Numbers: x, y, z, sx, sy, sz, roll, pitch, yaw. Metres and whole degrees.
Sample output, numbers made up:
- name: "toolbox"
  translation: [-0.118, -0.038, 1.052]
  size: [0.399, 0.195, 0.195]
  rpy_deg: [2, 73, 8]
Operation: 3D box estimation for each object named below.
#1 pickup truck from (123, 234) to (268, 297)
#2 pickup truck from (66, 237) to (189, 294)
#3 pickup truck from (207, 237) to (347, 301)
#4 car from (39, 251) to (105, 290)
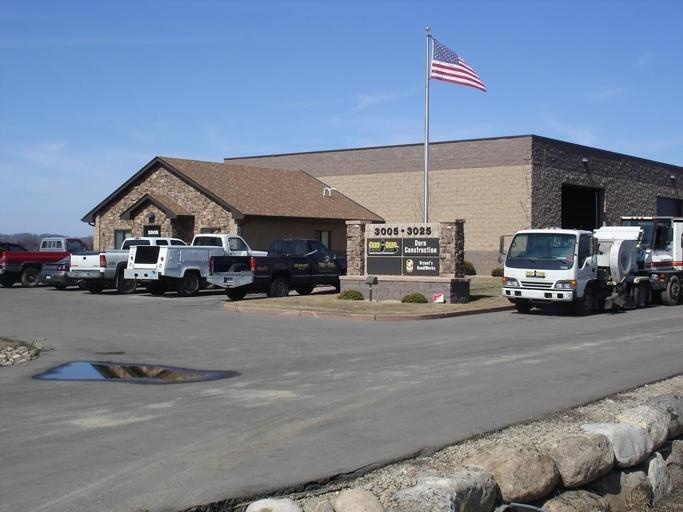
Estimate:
- name: "pickup truck"
  translation: [-6.220, 0.108, 30.058]
  size: [2.852, 2.226, 6.112]
  rpy_deg: [2, 3, 43]
- name: "pickup truck"
  translation: [-10.898, 0.465, 30.537]
  size: [2.731, 1.899, 5.095]
  rpy_deg: [0, 2, 41]
- name: "pickup truck"
  translation: [-2.867, 0.461, 27.494]
  size: [2.424, 1.738, 5.207]
  rpy_deg: [1, 2, 41]
- name: "car"
  translation: [-12.717, 0.541, 33.660]
  size: [2.089, 1.530, 4.095]
  rpy_deg: [-1, 0, 32]
